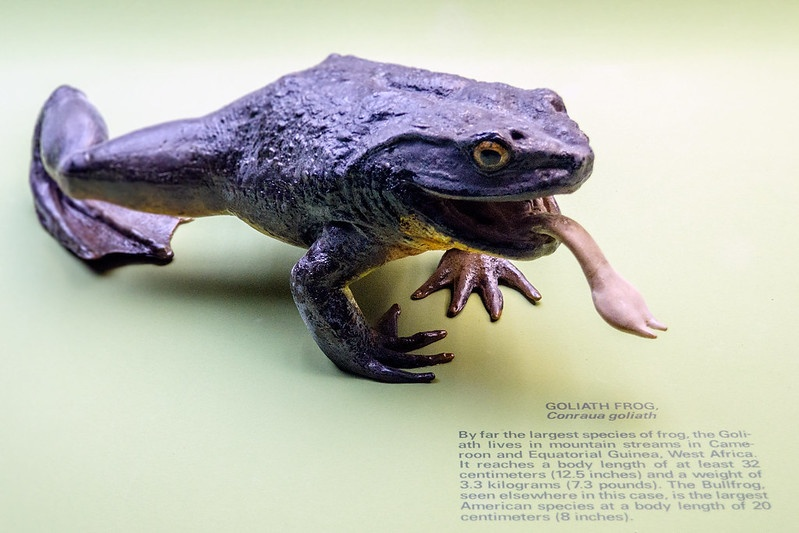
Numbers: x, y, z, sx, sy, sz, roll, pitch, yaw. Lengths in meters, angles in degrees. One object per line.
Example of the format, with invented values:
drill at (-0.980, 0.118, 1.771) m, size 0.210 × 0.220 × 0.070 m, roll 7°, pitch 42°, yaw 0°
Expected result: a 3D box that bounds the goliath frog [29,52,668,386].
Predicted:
goliath frog at (-0.179, -0.134, 2.560) m, size 1.694 × 0.850 × 0.403 m, roll -3°, pitch 12°, yaw 18°
